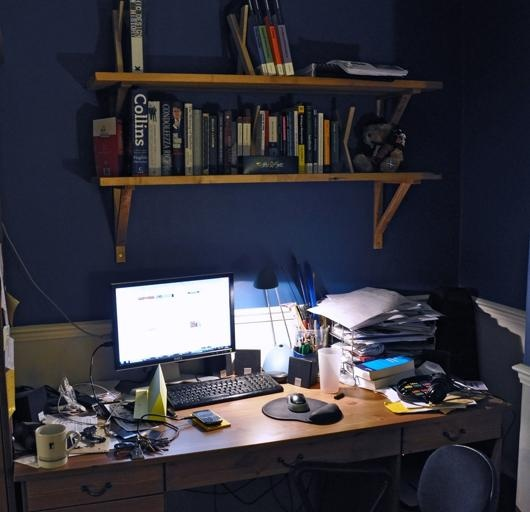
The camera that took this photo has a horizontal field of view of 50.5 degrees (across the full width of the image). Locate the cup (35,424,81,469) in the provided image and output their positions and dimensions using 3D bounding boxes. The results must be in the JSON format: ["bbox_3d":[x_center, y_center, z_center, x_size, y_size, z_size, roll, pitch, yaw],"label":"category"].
[{"bbox_3d":[-0.642,0.569,1.707,0.137,0.098,0.085,4,2,-42],"label":"cup"}]

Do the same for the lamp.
[{"bbox_3d":[0.025,0.293,2.441,0.185,0.439,0.186,6,-24,-42],"label":"lamp"}]

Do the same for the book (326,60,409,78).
[{"bbox_3d":[0.403,-0.731,2.227,0.340,0.060,0.134,-8,16,-32],"label":"book"}]

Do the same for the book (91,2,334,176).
[{"bbox_3d":[-0.118,-0.647,2.193,0.887,0.652,0.256,-4,15,-15],"label":"book"}]

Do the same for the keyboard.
[{"bbox_3d":[-0.157,0.515,2.187,0.427,0.043,0.192,-6,8,-16],"label":"keyboard"}]

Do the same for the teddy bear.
[{"bbox_3d":[0.486,-0.507,2.531,0.246,0.261,0.147,-4,15,-26],"label":"teddy bear"}]

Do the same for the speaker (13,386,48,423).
[{"bbox_3d":[-0.834,0.505,1.979,0.080,0.105,0.148,3,1,12],"label":"speaker"}]

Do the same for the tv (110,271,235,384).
[{"bbox_3d":[-0.351,0.250,2.211,0.490,0.336,0.047,-6,15,-24],"label":"tv"}]
